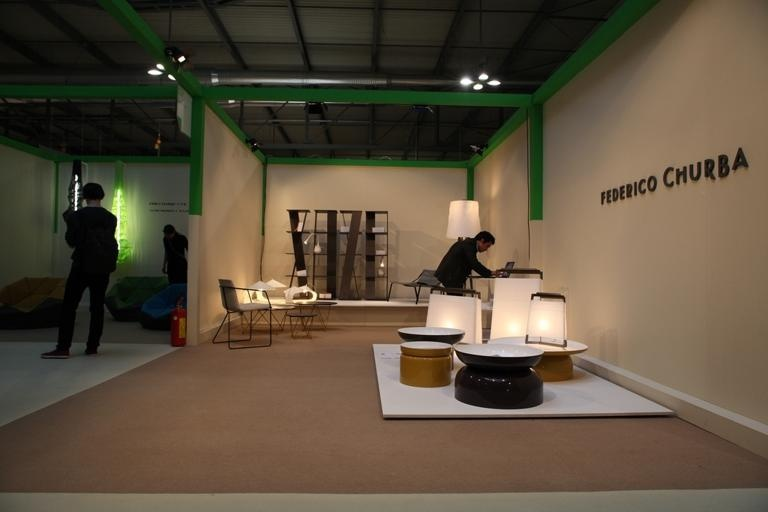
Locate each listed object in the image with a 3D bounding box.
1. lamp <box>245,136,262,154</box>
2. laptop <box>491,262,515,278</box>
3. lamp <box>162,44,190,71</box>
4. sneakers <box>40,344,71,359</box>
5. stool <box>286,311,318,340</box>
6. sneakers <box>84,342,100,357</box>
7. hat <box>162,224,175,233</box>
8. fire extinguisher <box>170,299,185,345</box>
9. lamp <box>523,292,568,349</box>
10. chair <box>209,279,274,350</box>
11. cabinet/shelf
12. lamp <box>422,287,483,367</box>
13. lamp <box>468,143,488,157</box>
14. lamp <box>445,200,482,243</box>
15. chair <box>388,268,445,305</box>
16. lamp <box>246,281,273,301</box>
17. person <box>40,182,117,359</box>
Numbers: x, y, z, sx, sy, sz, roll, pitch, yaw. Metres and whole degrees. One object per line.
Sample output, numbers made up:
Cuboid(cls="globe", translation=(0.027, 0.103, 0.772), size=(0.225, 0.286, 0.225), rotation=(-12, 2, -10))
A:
Cuboid(cls="lamp", translation=(-2.579, -2.128, 10.590), size=(0.308, 0.349, 0.494), rotation=(3, 20, -6))
Cuboid(cls="laptop", translation=(1.748, 0.219, 7.732), size=(0.274, 0.161, 0.367), rotation=(3, -6, -6))
Cuboid(cls="lamp", translation=(-2.765, -2.654, 7.226), size=(0.207, 0.146, 0.384), rotation=(1, 7, -10))
Cuboid(cls="sneakers", translation=(-4.226, 1.232, 6.955), size=(0.351, 0.233, 0.154), rotation=(4, -8, -7))
Cuboid(cls="stool", translation=(-1.491, 1.235, 9.601), size=(0.444, 0.318, 0.445), rotation=(0, -4, -2))
Cuboid(cls="sneakers", translation=(-3.830, 1.211, 7.080), size=(0.110, 0.217, 0.215), rotation=(3, -3, -19))
Cuboid(cls="hat", translation=(-4.063, -0.497, 10.197), size=(0.246, 0.192, 0.334), rotation=(3, 13, -16))
Cuboid(cls="fire extinguisher", translation=(-2.967, 0.974, 7.771), size=(0.205, 0.630, 0.288), rotation=(-2, 11, -10))
Cuboid(cls="lamp", translation=(1.962, 0.805, 6.506), size=(0.456, 0.648, 0.368), rotation=(6, -19, 14))
Cuboid(cls="chair", translation=(-2.123, 0.846, 8.152), size=(0.870, 0.989, 0.960), rotation=(0, 0, 13))
Cuboid(cls="cabinet/shelf", translation=(-1.106, -0.024, 11.521), size=(1.841, 1.716, 0.589), rotation=(1, -1, -7))
Cuboid(cls="lamp", translation=(0.823, 0.860, 6.453), size=(0.311, 0.853, 0.845), rotation=(11, -8, -44))
Cuboid(cls="lamp", translation=(1.888, -2.097, 10.695), size=(0.264, 0.142, 0.346), rotation=(1, 5, 4))
Cuboid(cls="lamp", translation=(1.337, -0.638, 9.900), size=(0.637, 0.715, 0.631), rotation=(1, -1, -41))
Cuboid(cls="chair", translation=(0.686, 0.591, 10.888), size=(0.945, 0.724, 1.013), rotation=(2, -1, 35))
Cuboid(cls="lamp", translation=(-2.217, 0.632, 9.598), size=(0.501, 0.453, 0.546), rotation=(-1, 2, -6))
Cuboid(cls="person", translation=(-3.949, 0.206, 7.123), size=(0.528, 2.239, 0.975), rotation=(9, 14, 40))
